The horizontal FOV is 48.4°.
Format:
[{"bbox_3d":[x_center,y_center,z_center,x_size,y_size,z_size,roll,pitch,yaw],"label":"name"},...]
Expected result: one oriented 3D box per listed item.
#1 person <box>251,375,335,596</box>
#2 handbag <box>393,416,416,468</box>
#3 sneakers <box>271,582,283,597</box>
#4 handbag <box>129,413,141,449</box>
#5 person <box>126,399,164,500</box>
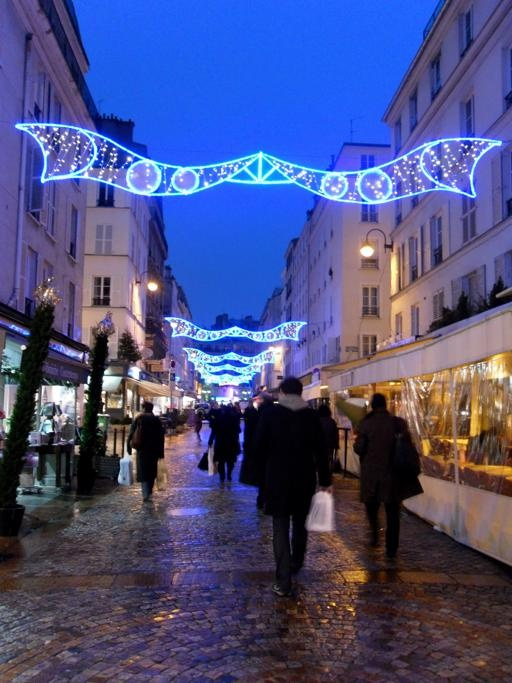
[{"bbox_3d":[0.313,1.137,4.697,0.642,1.707,0.796,1,-6,4],"label":"person"},{"bbox_3d":[1.575,1.061,5.944,0.254,0.527,0.318,0,-7,16],"label":"handbag"},{"bbox_3d":[0.167,1.869,4.293,0.049,0.072,0.178,4,-7,-20],"label":"sneakers"},{"bbox_3d":[-2.135,1.607,10.148,0.186,0.630,0.546,3,-7,-15],"label":"handbag"},{"bbox_3d":[-1.958,1.947,10.238,0.621,1.740,0.727,3,-6,-10],"label":"person"}]
